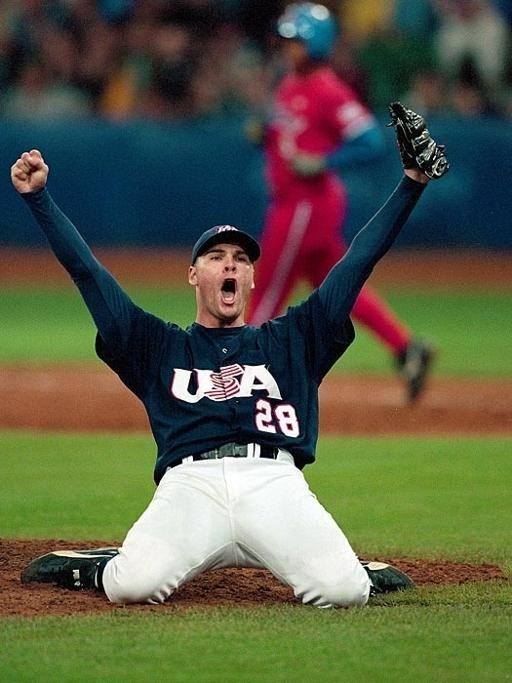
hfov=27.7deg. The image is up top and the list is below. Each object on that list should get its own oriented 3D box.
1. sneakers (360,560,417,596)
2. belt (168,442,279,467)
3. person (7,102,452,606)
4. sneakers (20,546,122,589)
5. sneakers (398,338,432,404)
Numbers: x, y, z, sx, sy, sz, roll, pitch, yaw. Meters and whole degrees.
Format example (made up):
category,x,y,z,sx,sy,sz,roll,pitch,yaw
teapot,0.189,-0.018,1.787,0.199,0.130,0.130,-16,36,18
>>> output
category,x,y,z,sx,sy,sz,roll,pitch,yaw
sneakers,0.415,0.733,3.233,0.155,0.063,0.252,-1,9,2
belt,-0.084,0.344,3.128,0.320,0.065,0.060,-2,12,-4
person,-0.120,0.016,3.190,1.200,1.449,0.824,-1,13,6
sneakers,-0.589,0.715,3.279,0.270,0.059,0.137,3,30,16
sneakers,1.088,0.221,7.201,0.200,0.530,0.225,-2,39,0
